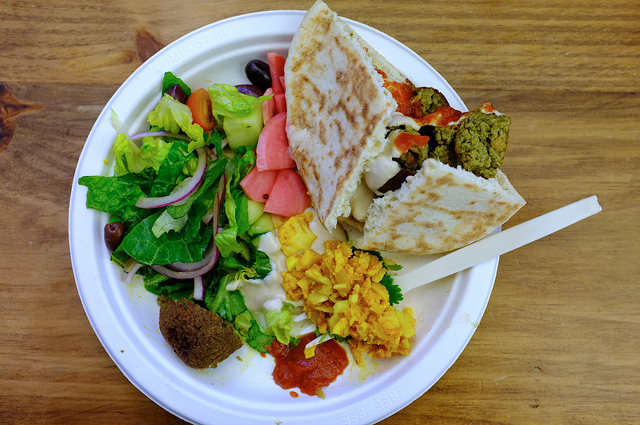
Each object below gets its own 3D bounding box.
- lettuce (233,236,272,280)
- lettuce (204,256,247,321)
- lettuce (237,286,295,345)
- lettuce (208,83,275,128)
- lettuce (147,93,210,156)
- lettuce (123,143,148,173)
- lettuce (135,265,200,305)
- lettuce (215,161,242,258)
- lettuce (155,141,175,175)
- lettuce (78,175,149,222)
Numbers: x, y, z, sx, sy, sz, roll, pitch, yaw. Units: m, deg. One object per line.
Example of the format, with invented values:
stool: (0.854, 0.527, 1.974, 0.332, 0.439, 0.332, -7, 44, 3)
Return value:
lettuce: (-0.474, 0.331, 4.883, 0.336, 0.090, 0.220, 41, 111, 6)
lettuce: (-0.707, 0.589, 4.862, 0.289, 0.110, 0.463, -1, 76, -15)
lettuce: (-0.351, 0.823, 4.856, 0.172, 0.417, 0.429, -44, 128, -26)
lettuce: (-0.596, -0.810, 4.844, 0.360, 0.170, 0.276, 1, 90, 1)
lettuce: (-1.000, -0.617, 4.829, 0.496, 0.205, 0.324, 26, 72, -9)
lettuce: (-1.349, -0.402, 4.761, 0.115, 0.251, 0.152, 9, 76, 12)
lettuce: (-1.155, 0.545, 4.863, 0.394, 0.106, 0.279, 16, 119, -22)
lettuce: (-0.654, -0.018, 4.765, 0.184, 0.180, 0.694, 1, 91, 3)
lettuce: (-1.155, -0.397, 4.788, 0.048, 0.176, 0.179, 29, 57, -36)
lettuce: (-1.520, -0.121, 4.740, 0.461, 0.158, 0.277, 18, 85, 1)
